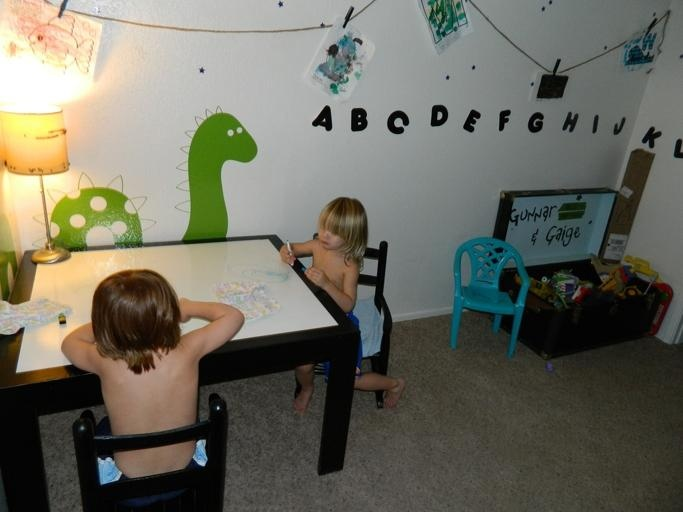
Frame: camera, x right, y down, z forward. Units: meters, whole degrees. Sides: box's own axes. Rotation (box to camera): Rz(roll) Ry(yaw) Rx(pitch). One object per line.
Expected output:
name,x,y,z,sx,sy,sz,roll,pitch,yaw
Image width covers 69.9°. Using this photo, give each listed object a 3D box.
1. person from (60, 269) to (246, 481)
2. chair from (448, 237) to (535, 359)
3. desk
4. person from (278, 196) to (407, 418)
person,-0.729,0.573,1.980,0.592,1.080,0.522,-12,22,-42
chair,1.007,0.288,3.379,0.433,0.736,0.499,6,12,4
desk,-0.896,0.317,2.318,1.296,0.798,1.045,-6,28,-18
person,-0.014,0.344,2.746,0.673,1.389,0.483,6,19,11
